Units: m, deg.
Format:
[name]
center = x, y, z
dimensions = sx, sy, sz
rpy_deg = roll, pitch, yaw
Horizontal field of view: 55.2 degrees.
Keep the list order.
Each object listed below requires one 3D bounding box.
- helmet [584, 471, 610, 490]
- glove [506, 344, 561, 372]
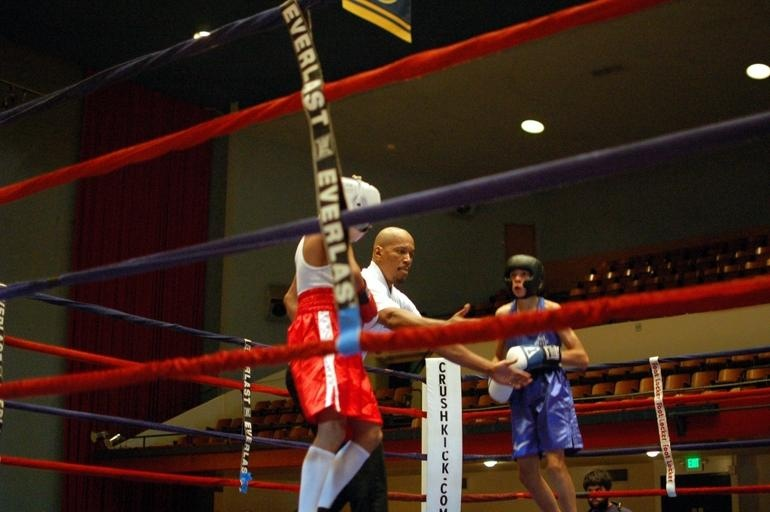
[helmet]
center = 1.782, 1.873, 6.197
dimensions = 0.165, 0.192, 0.204
rpy_deg = -1, 0, 45
[glove]
center = 0.836, 0.567, 4.108
dimensions = 0.200, 0.091, 0.198
rpy_deg = 2, -4, -31
